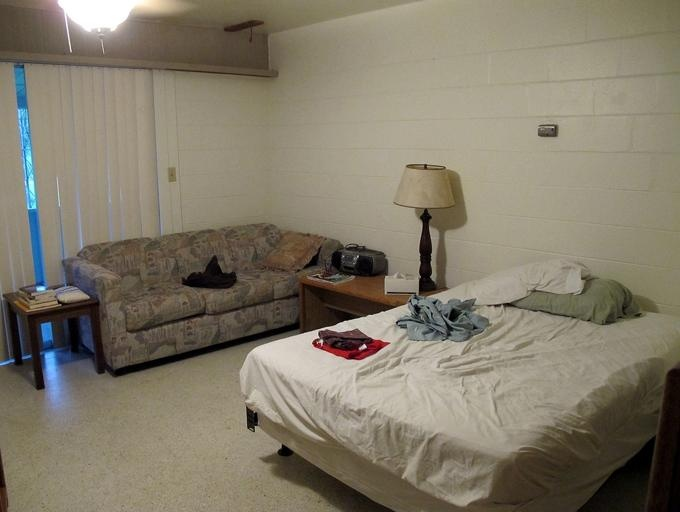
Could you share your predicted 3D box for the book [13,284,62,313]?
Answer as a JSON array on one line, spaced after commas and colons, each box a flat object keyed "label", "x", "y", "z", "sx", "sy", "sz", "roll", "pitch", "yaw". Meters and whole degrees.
[{"label": "book", "x": -2.368, "y": 0.320, "z": 3.869, "sx": 0.267, "sy": 0.130, "sz": 0.413, "roll": -11, "pitch": 14, "yaw": -35}]

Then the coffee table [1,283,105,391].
[{"label": "coffee table", "x": -2.347, "y": 0.519, "z": 4.012, "sx": 0.783, "sy": 0.750, "sz": 0.787, "roll": -8, "pitch": 11, "yaw": -39}]

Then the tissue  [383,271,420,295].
[{"label": "tissue ", "x": 0.510, "y": 0.239, "z": 4.076, "sx": 0.243, "sy": 0.122, "sz": 0.173, "roll": 1, "pitch": 3, "yaw": 10}]

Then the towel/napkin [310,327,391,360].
[{"label": "towel/napkin", "x": 0.071, "y": 0.507, "z": 2.859, "sx": 0.216, "sy": 0.059, "sz": 0.218, "roll": -11, "pitch": 16, "yaw": -42}]

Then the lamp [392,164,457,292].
[{"label": "lamp", "x": 0.728, "y": -0.234, "z": 4.146, "sx": 0.465, "sy": 1.042, "sz": 0.517, "roll": 4, "pitch": 13, "yaw": 26}]

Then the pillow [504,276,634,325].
[{"label": "pillow", "x": 1.552, "y": 0.299, "z": 3.232, "sx": 0.418, "sy": 0.128, "sz": 0.374, "roll": 11, "pitch": 21, "yaw": 43}]
